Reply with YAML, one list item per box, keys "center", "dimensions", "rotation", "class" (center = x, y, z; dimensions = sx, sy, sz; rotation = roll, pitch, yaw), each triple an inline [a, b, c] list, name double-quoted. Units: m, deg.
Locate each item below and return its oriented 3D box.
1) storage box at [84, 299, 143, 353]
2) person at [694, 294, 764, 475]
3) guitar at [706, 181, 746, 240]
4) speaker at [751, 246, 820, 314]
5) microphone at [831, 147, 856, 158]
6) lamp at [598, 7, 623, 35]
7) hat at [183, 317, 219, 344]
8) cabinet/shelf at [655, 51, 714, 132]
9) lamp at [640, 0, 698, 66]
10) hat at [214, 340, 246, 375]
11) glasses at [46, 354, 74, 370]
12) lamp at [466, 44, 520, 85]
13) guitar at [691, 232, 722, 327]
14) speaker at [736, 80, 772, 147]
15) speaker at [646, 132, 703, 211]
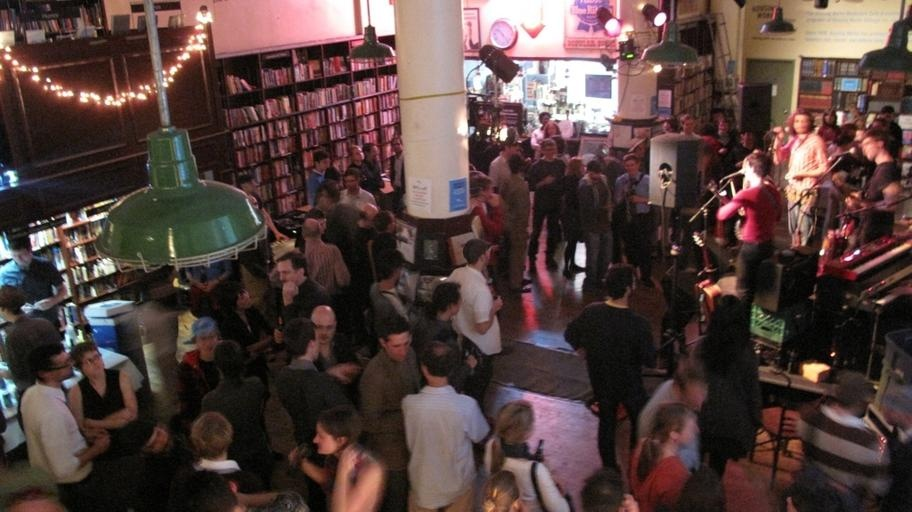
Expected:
- center: [-4.799, 1.089, 9.367]
  dimensions: [0.668, 0.793, 0.641]
  rotation: [-12, 6, -17]
  class: "storage box"
- center: [2.827, 1.412, 6.875]
  dimensions: [0.639, 1.604, 0.671]
  rotation: [1, 17, 12]
  class: "person"
- center: [4.086, -0.688, 9.962]
  dimensions: [0.465, 1.116, 2.164]
  rotation: [4, 17, 22]
  class: "guitar"
- center: [3.807, 0.233, 7.570]
  dimensions: [0.917, 0.658, 0.324]
  rotation: [-17, 22, -36]
  class: "speaker"
- center: [6.777, -1.805, 11.517]
  dimensions: [0.326, 0.078, 0.289]
  rotation: [-6, 7, -18]
  class: "microphone"
- center: [3.167, -4.790, 13.553]
  dimensions: [0.507, 0.590, 0.713]
  rotation: [1, 16, 13]
  class: "lamp"
- center: [-2.793, 0.804, 7.265]
  dimensions: [0.269, 0.293, 0.330]
  rotation: [-1, -9, -26]
  class: "hat"
- center: [5.580, -3.915, 15.989]
  dimensions: [1.873, 1.579, 0.573]
  rotation: [-15, 17, -39]
  class: "cabinet/shelf"
- center: [3.182, -3.137, 9.767]
  dimensions: [0.787, 0.601, 0.515]
  rotation: [3, 17, 17]
  class: "lamp"
- center: [-2.240, 1.016, 6.735]
  dimensions: [0.293, 0.315, 0.342]
  rotation: [-4, 24, -13]
  class: "hat"
- center: [-3.909, 1.048, 6.550]
  dimensions: [0.131, 0.155, 0.160]
  rotation: [11, 46, -10]
  class: "glasses"
- center: [0.885, -3.848, 13.267]
  dimensions: [0.646, 0.730, 0.962]
  rotation: [-4, 16, -5]
  class: "lamp"
- center: [3.285, 0.328, 8.666]
  dimensions: [0.321, 1.409, 0.609]
  rotation: [-21, 42, 4]
  class: "guitar"
- center: [6.402, -2.961, 14.011]
  dimensions: [0.651, 1.241, 0.732]
  rotation: [5, 21, 28]
  class: "speaker"
- center: [3.269, -1.243, 9.841]
  dimensions: [0.692, 1.020, 0.527]
  rotation: [2, 17, 14]
  class: "speaker"
